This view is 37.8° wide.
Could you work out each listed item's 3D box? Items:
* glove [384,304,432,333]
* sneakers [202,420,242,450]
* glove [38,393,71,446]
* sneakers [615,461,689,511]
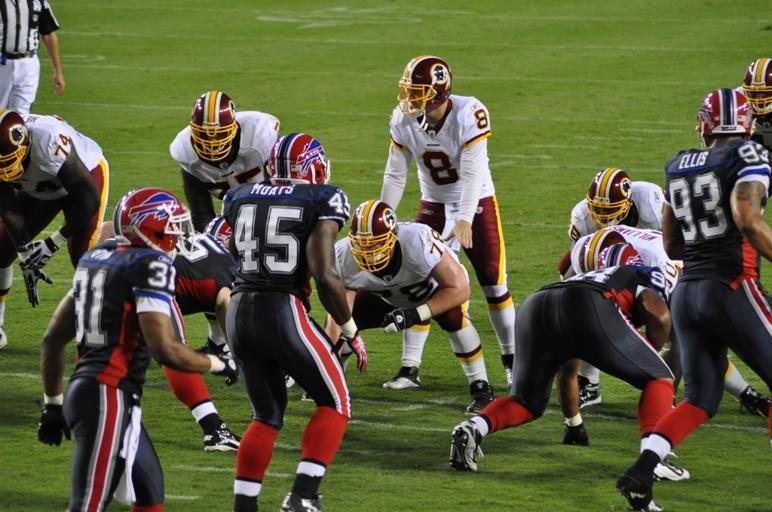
[{"bbox_3d":[0.140,0.428,7.258,0.271,0.087,0.161,-21,19,-14],"label":"glove"},{"bbox_3d":[-1.069,1.171,7.381,0.392,0.207,0.130,0,6,-9],"label":"sneakers"},{"bbox_3d":[-1.913,0.969,6.569,0.247,0.324,0.158,9,8,44],"label":"glove"},{"bbox_3d":[1.654,1.389,6.864,0.657,0.259,0.212,-10,11,-40],"label":"sneakers"}]
